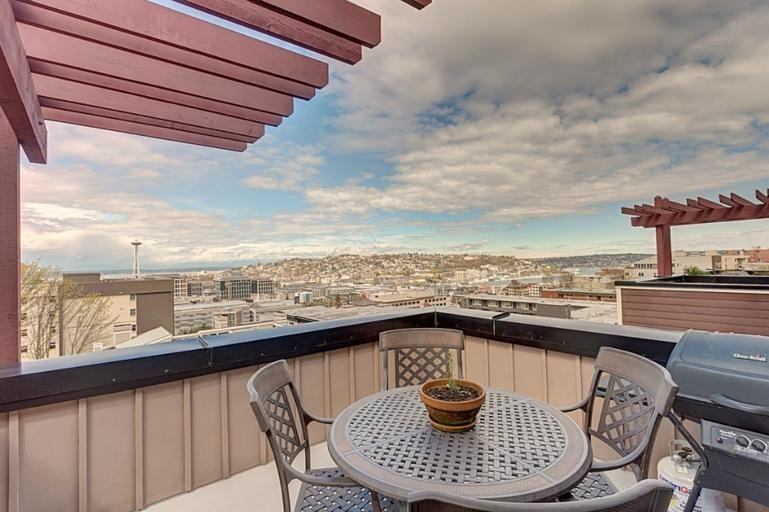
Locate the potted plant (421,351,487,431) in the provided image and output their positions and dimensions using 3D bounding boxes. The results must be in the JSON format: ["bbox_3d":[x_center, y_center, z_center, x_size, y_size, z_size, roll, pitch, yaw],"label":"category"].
[{"bbox_3d":[0.447,0.836,2.551,0.416,0.389,0.407,-6,7,-38],"label":"potted plant"}]
